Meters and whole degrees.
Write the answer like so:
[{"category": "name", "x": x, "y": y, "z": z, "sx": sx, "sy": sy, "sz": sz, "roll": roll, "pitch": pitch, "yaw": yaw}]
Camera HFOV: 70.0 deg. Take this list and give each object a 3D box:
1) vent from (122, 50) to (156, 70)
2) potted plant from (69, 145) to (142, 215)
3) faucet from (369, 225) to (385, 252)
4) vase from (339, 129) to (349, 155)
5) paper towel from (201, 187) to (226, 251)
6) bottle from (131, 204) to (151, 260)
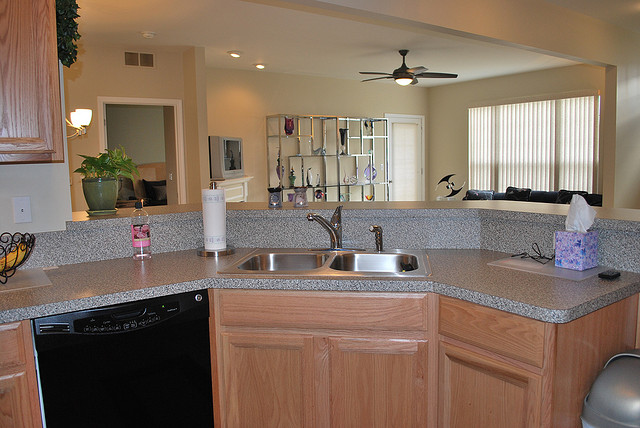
[{"category": "vent", "x": -2.461, "y": -2.092, "z": 6.171, "sx": 0.312, "sy": 0.156, "sz": 0.021, "roll": -2, "pitch": 9, "yaw": -22}, {"category": "potted plant", "x": -1.304, "y": -0.201, "z": 2.810, "sx": 0.323, "sy": 0.404, "sz": 0.266, "roll": -6, "pitch": 9, "yaw": -26}, {"category": "faucet", "x": 0.346, "y": 0.146, "z": 2.717, "sx": 0.064, "sy": 0.166, "sz": 0.137, "roll": 0, "pitch": 9, "yaw": 19}, {"category": "vase", "x": 0.435, "y": -1.303, "z": 8.279, "sx": 0.137, "sy": 0.444, "sz": 0.337, "roll": -2, "pitch": 8, "yaw": 4}, {"category": "paper towel", "x": -0.646, "y": 0.031, "z": 2.806, "sx": 0.145, "sy": 0.368, "sz": 0.182, "roll": -4, "pitch": 9, "yaw": -13}, {"category": "bottle", "x": -1.080, "y": 0.099, "z": 2.756, "sx": 0.110, "sy": 0.329, "sz": 0.198, "roll": -6, "pitch": 9, "yaw": -21}]
